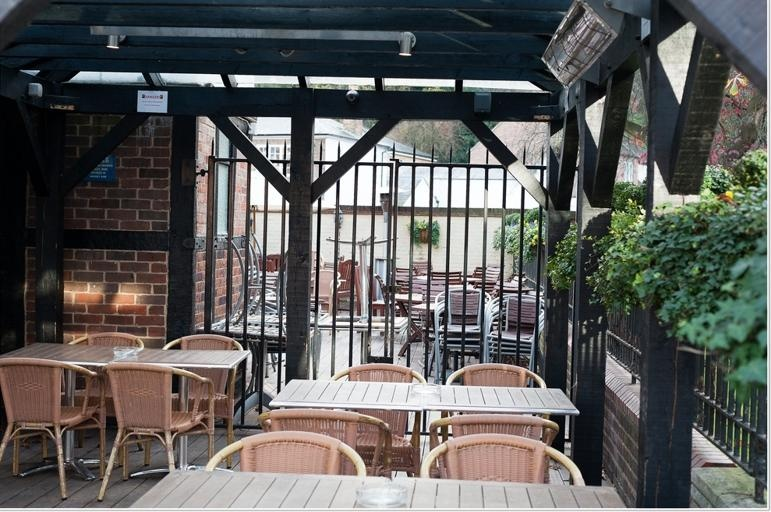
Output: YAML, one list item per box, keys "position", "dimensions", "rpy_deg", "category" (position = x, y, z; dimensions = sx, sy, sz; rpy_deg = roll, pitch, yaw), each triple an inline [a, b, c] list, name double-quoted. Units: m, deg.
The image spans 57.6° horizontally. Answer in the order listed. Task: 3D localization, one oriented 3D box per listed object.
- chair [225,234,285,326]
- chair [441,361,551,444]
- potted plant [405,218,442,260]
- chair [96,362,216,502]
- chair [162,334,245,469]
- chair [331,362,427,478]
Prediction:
- position: [-1.603, 0.325, 8.497]
  dimensions: [0.813, 1.235, 1.205]
  rpy_deg: [0, 2, 1]
  category: "chair"
- position: [0.865, 1.380, 5.763]
  dimensions: [0.815, 0.997, 0.765]
  rpy_deg: [2, -8, -4]
  category: "chair"
- position: [1.143, -0.543, 21.183]
  dimensions: [1.168, 1.242, 0.859]
  rpy_deg: [7, -3, -5]
  category: "potted plant"
- position: [-1.954, 1.419, 5.970]
  dimensions: [0.786, 1.086, 0.840]
  rpy_deg: [0, -1, 12]
  category: "chair"
- position: [-1.727, 1.292, 6.587]
  dimensions: [0.819, 1.083, 0.781]
  rpy_deg: [2, -6, -4]
  category: "chair"
- position: [0.080, 1.362, 5.935]
  dimensions: [0.897, 1.154, 0.838]
  rpy_deg: [0, -10, 4]
  category: "chair"
